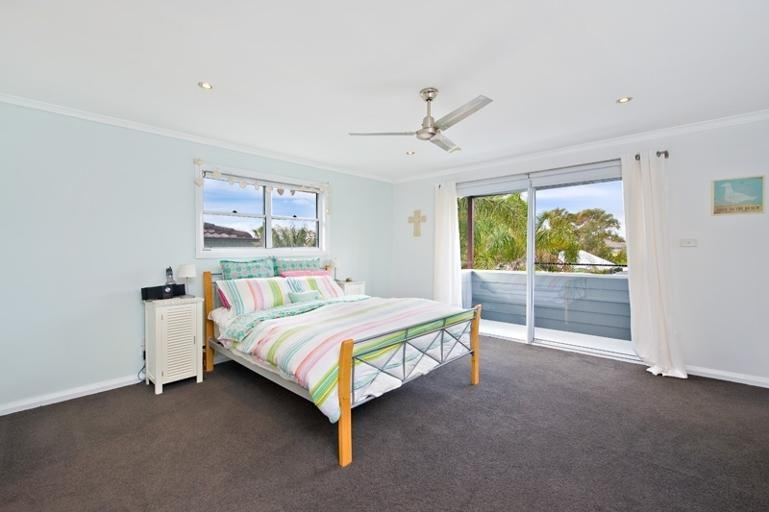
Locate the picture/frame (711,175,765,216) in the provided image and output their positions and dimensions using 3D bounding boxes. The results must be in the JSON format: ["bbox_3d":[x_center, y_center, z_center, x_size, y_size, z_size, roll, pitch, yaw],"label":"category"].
[{"bbox_3d":[4.254,-0.713,5.388,0.485,0.476,0.053,0,1,35],"label":"picture/frame"}]

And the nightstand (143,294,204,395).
[{"bbox_3d":[-2.549,1.035,5.336,0.746,1.038,0.496,-3,13,-13],"label":"nightstand"}]

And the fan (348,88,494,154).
[{"bbox_3d":[0.592,-1.459,4.855,0.730,0.636,1.118,-1,12,-5],"label":"fan"}]

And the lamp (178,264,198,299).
[{"bbox_3d":[-2.498,0.315,5.718,0.241,0.430,0.352,-6,13,-24],"label":"lamp"}]
